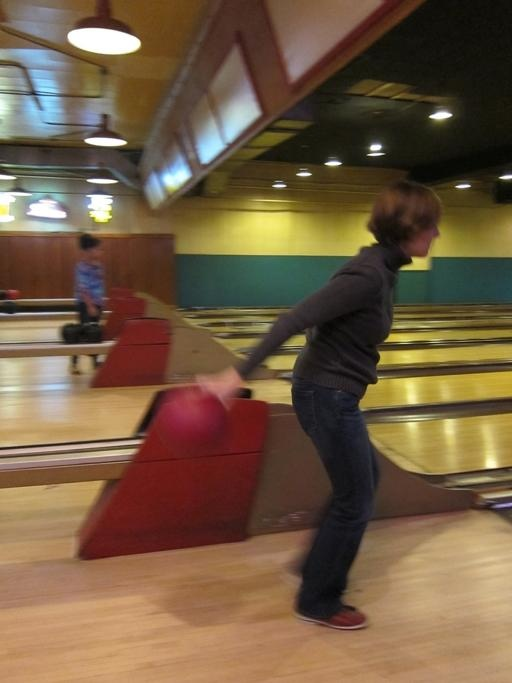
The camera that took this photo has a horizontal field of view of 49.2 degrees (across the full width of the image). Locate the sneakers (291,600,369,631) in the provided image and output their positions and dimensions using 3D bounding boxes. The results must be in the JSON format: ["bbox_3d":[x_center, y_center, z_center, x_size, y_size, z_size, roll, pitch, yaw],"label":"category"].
[{"bbox_3d":[0.167,0.584,1.198,0.141,0.044,0.051,-1,-4,-1],"label":"sneakers"}]
